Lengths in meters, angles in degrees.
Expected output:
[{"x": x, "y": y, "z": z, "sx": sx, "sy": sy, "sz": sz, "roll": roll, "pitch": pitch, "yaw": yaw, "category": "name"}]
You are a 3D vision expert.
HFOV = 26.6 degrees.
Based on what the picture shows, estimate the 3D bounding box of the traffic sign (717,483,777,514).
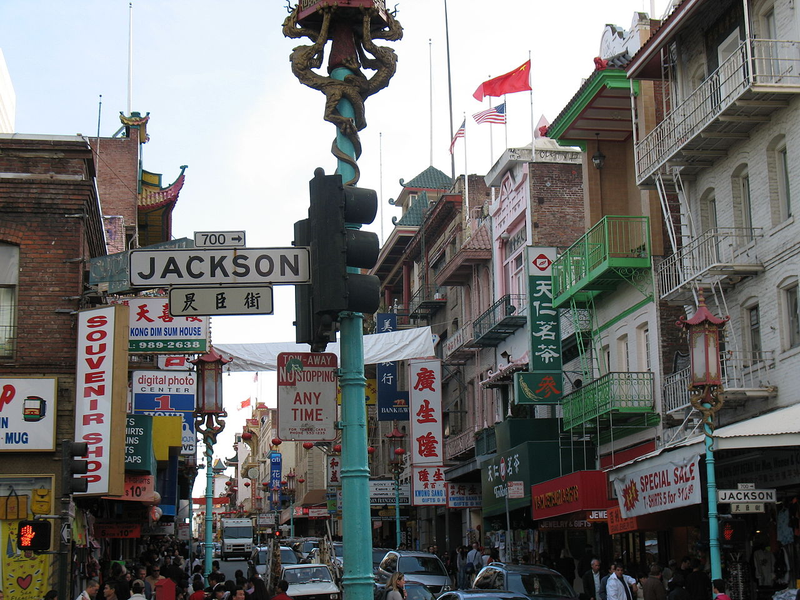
[{"x": 8.263, "y": 4.650, "z": 40.880, "sx": 0.947, "sy": 0.837, "sz": 1.494, "roll": -19, "pitch": -25, "yaw": 40, "category": "traffic sign"}]

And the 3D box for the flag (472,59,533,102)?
[{"x": 3.881, "y": -8.714, "z": 65.537, "sx": 2.401, "sy": 2.062, "sz": 0.377, "roll": -6, "pitch": -23, "yaw": 20, "category": "flag"}]

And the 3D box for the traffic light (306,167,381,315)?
[{"x": -1.160, "y": -0.974, "z": 32.801, "sx": 0.837, "sy": 3.459, "sz": 1.153, "roll": 0, "pitch": -10, "yaw": -15, "category": "traffic light"}]

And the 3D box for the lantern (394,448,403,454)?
[{"x": -0.085, "y": 5.668, "z": 63.693, "sx": 0.211, "sy": 0.160, "sz": 0.211, "roll": -2, "pitch": -1, "yaw": 44, "category": "lantern"}]

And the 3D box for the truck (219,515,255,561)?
[{"x": -8.732, "y": 12.794, "z": 91.246, "sx": 1.499, "sy": 1.749, "sz": 3.037, "roll": 1, "pitch": -17, "yaw": -11, "category": "truck"}]

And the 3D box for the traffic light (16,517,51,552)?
[{"x": -8.682, "y": 5.601, "z": 40.541, "sx": 0.754, "sy": 0.806, "sz": 0.773, "roll": 0, "pitch": -5, "yaw": -1, "category": "traffic light"}]

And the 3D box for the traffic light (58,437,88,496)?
[{"x": -7.755, "y": 3.944, "z": 40.399, "sx": 0.658, "sy": 1.270, "sz": 0.410, "roll": -9, "pitch": -18, "yaw": 19, "category": "traffic light"}]
